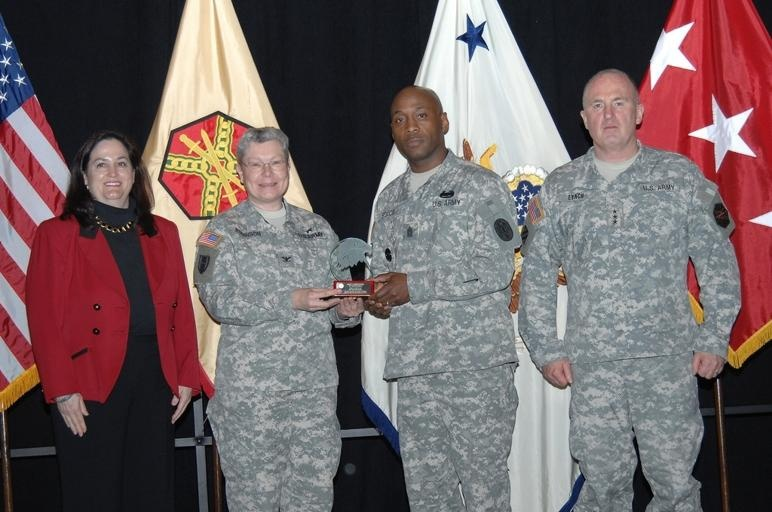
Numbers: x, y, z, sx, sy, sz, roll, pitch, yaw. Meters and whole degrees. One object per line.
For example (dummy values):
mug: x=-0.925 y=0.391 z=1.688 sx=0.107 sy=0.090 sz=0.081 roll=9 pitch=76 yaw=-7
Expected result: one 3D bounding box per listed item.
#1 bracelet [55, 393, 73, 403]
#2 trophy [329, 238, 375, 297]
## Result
bracelet: x=-1.647 y=0.740 z=3.713 sx=0.085 sy=0.041 sz=0.035 roll=-7 pitch=-7 yaw=23
trophy: x=-0.183 y=0.081 z=4.030 sx=0.245 sy=0.331 sz=0.063 roll=-3 pitch=-15 yaw=10
